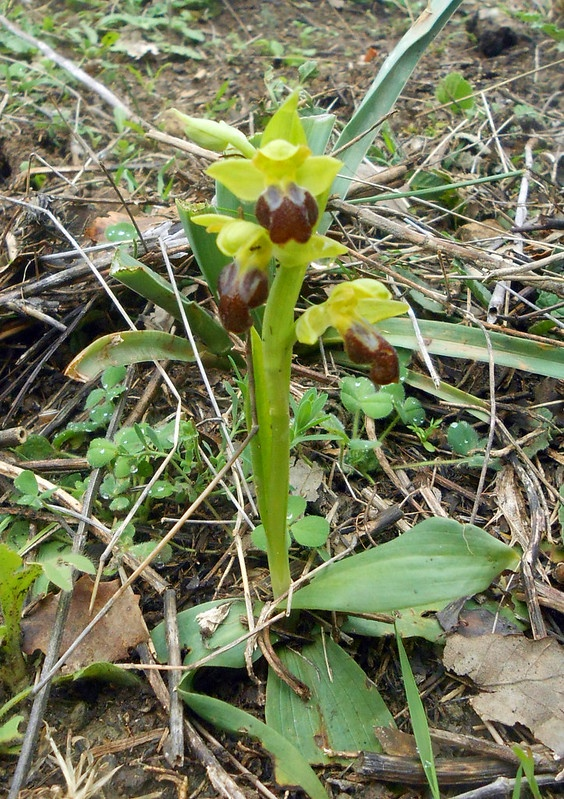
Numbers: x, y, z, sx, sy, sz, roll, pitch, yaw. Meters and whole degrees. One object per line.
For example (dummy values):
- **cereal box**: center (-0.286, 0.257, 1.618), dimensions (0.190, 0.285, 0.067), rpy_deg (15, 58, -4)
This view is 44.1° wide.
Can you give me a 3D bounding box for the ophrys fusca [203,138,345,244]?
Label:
- **ophrys fusca**: center (-0.018, -0.438, 1.441), dimensions (0.269, 0.185, 0.181), rpy_deg (-1, 37, -5)
